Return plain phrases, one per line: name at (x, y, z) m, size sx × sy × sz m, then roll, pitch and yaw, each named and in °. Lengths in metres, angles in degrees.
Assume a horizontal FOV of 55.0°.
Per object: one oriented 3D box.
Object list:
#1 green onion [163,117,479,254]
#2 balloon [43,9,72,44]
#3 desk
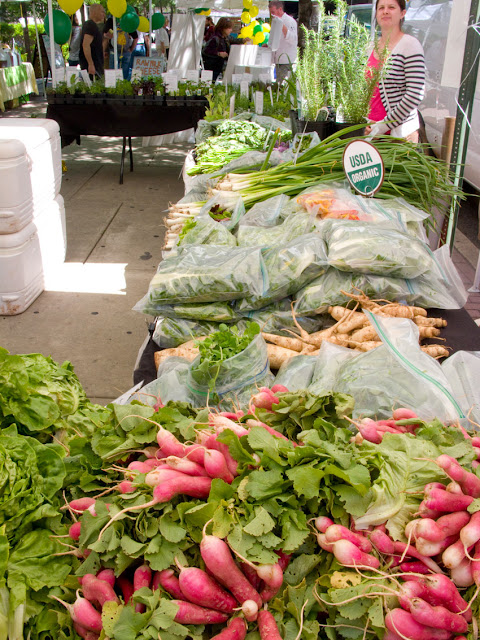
green onion at (0.452, -0.895, 2.996) m, size 1.770 × 0.686 × 1.038 m, roll 6°, pitch 27°, yaw 9°
balloon at (-3.321, -5.424, 8.495) m, size 0.375 × 0.586 × 1.163 m, roll -6°, pitch 28°, yaw -15°
desk at (-1.842, -3.322, 7.958) m, size 2.410 × 1.182 × 1.694 m, roll 0°, pitch 38°, yaw -5°
